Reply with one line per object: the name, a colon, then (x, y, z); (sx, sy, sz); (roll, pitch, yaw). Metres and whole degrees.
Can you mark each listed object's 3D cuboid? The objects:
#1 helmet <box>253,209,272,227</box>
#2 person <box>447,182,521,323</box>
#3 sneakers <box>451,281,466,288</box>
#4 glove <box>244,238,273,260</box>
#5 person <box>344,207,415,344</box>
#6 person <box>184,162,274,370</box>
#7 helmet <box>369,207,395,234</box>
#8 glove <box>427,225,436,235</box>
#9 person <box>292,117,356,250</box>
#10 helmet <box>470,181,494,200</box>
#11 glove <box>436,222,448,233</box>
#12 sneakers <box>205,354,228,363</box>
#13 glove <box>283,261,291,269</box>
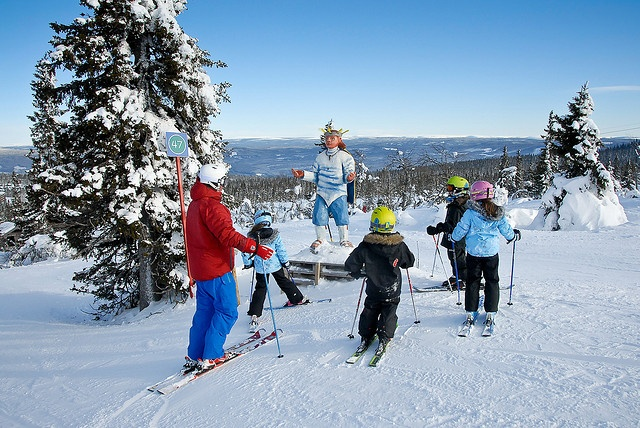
helmet: (-1.296, 0.105, 10.873); (0.331, 0.379, 0.386); (9, -10, -21)
person: (3.495, 0.803, 10.184); (1.271, 2.992, 0.782); (-6, 5, -34)
sneakers: (3.392, 1.741, 11.537); (0.359, 0.180, 0.225); (-7, -29, 16)
glove: (-1.150, 0.687, 9.093); (0.514, 0.302, 0.186); (29, 25, -10)
person: (1.218, 1.241, 9.519); (1.262, 2.754, 0.440); (-3, 4, 6)
person: (-2.048, 1.043, 9.292); (1.481, 3.968, 0.498); (-3, 4, 10)
helmet: (1.256, 0.108, 9.503); (0.411, 0.518, 0.542); (3, 18, -4)
glove: (2.663, 0.390, 11.156); (0.220, 0.215, 0.427); (-3, 4, 5)
person: (0.312, -0.721, 13.235); (1.435, 3.545, 0.614); (-3, 4, 2)
helmet: (3.552, -0.498, 10.270); (0.365, 0.394, 0.501); (1, 18, 7)
glove: (2.966, 0.341, 11.205); (0.324, 0.307, 0.525); (-2, 4, 16)
sneakers: (-2.059, 2.879, 9.434); (0.402, 0.129, 0.184); (-10, -5, -21)
glove: (-0.807, 1.260, 11.445); (0.175, 0.230, 0.224); (-6, -3, -1)
